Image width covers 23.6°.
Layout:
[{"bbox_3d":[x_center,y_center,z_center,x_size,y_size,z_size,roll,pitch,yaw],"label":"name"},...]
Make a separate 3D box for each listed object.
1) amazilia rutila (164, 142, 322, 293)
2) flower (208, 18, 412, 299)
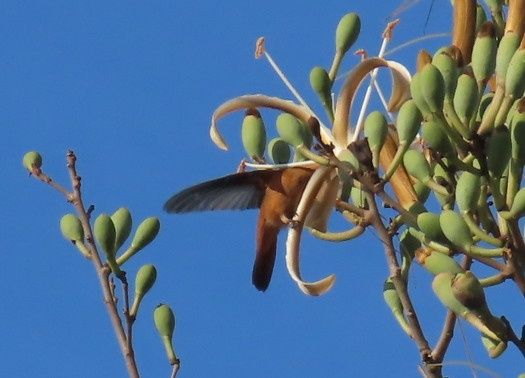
[{"bbox_3d":[-0.013,0.072,4.697,0.573,0.329,0.719,-23,-22,-27],"label":"amazilia rutila"},{"bbox_3d":[0.306,-0.079,4.645,0.516,0.682,0.868,6,-75,-37],"label":"flower"}]
